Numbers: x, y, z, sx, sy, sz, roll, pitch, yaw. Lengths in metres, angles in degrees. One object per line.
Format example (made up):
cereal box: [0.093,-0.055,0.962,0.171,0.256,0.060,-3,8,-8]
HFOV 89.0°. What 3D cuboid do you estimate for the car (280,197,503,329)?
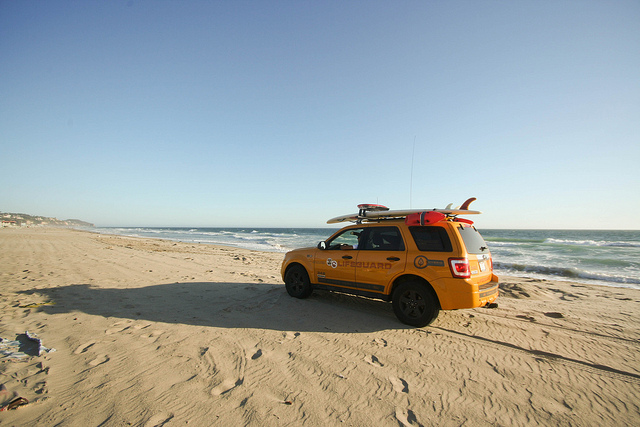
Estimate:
car: [1.805,1.139,8.808,5.853,2.170,2.786,-2,0,42]

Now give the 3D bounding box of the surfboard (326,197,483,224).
surfboard: [1.894,0.040,6.708,4.356,0.422,0.598,-2,-2,29]

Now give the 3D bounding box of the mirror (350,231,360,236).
mirror: [0.868,0.494,8.170,0.220,0.110,0.051,-2,-6,34]

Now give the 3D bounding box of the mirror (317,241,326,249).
mirror: [0.039,0.824,8.539,0.271,0.165,0.080,2,-7,-8]
